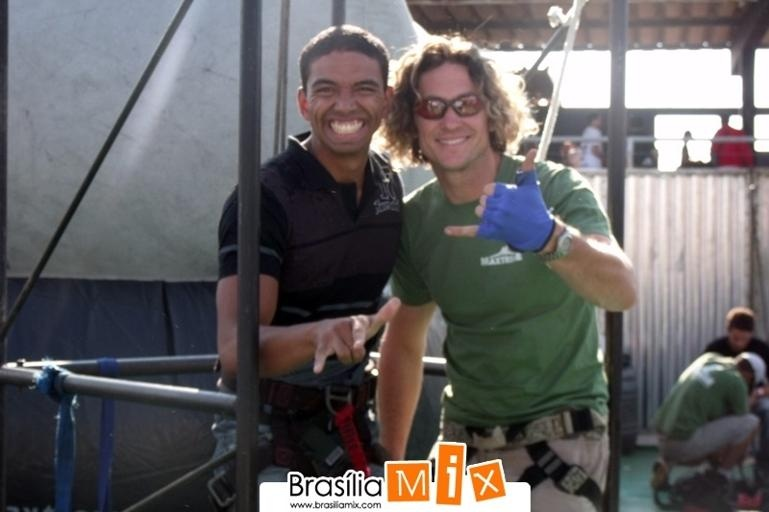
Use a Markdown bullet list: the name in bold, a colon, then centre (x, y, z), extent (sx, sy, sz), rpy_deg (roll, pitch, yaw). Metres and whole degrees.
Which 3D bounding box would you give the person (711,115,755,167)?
- **person**: centre (6.424, -2.021, 16.084), extent (0.762, 0.940, 0.903), rpy_deg (-2, -5, 14)

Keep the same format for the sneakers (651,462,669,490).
- **sneakers**: centre (3.395, 2.697, 10.717), extent (0.097, 0.331, 0.248), rpy_deg (23, 15, -16)

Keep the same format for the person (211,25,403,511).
- **person**: centre (-0.527, 0.058, 6.365), extent (1.501, 3.648, 1.114), rpy_deg (0, -5, -12)
